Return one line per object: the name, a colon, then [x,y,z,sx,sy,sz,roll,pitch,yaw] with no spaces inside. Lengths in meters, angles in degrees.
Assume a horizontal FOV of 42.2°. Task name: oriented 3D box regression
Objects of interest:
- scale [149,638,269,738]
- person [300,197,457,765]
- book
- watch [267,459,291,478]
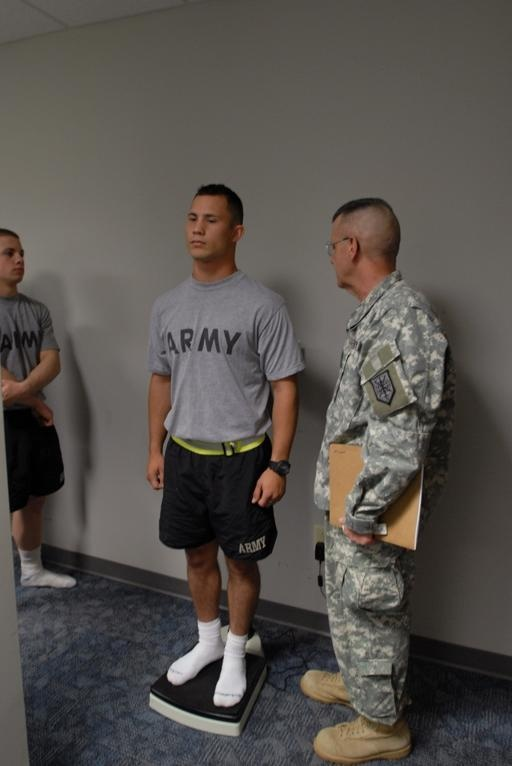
scale: [-0.147,0.994,2.191,0.396,0.074,0.377,2,16,-3]
person: [0.331,0.297,1.849,0.445,1.581,0.486,-1,15,3]
book: [0.315,0.265,1.691,0.276,0.262,0.067,11,7,37]
watch: [0.076,0.263,2.062,0.075,0.045,0.065,3,-12,-14]
